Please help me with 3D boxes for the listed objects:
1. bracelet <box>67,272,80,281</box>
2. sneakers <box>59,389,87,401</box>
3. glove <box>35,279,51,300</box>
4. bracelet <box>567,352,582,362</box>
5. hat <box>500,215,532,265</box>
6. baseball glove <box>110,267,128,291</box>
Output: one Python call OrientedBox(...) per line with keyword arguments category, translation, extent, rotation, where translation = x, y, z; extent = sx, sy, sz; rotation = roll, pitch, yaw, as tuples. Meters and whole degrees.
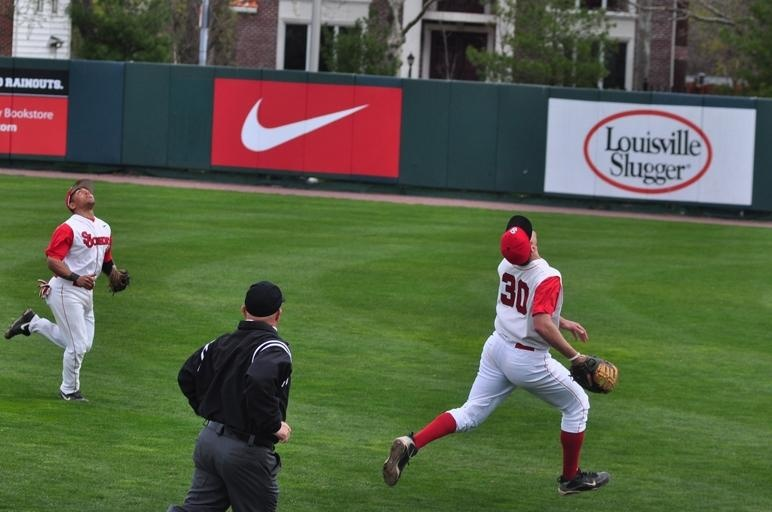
OrientedBox(category="bracelet", translation=(-7.033, 0.463, 33.859), extent=(0.205, 0.155, 0.204), rotation=(1, 3, -1))
OrientedBox(category="sneakers", translation=(-7.098, 3.190, 34.261), extent=(0.635, 0.222, 0.285), rotation=(5, -39, -10))
OrientedBox(category="glove", translation=(-7.810, 0.758, 34.366), extent=(0.241, 0.466, 0.815), rotation=(2, 6, -14))
OrientedBox(category="bracelet", translation=(4.111, 2.157, 32.357), extent=(0.201, 0.079, 0.166), rotation=(-39, 7, -14))
OrientedBox(category="hat", translation=(2.839, -0.323, 32.179), extent=(0.678, 0.988, 0.421), rotation=(9, 11, 22))
OrientedBox(category="baseball glove", translation=(-6.091, 0.528, 34.714), extent=(0.514, 0.499, 0.391), rotation=(-11, 16, -31))
